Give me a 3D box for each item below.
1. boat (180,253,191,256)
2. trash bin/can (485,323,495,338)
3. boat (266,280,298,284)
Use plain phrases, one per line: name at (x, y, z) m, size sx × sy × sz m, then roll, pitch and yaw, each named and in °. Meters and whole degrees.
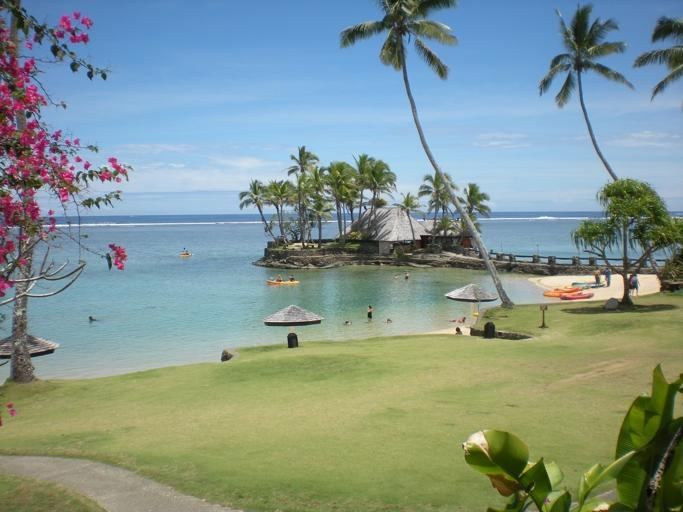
boat at (-29.361, -0.125, 93.090) m, size 1.617 × 0.583 × 2.476 m, roll -4°, pitch 2°, yaw -19°
trash bin/can at (7.305, 3.677, 24.347) m, size 0.521 × 0.684 × 0.862 m, roll -4°, pitch 3°, yaw 15°
boat at (-6.698, 3.032, 55.654) m, size 3.231 × 0.391 × 2.621 m, roll -5°, pitch 2°, yaw -28°
